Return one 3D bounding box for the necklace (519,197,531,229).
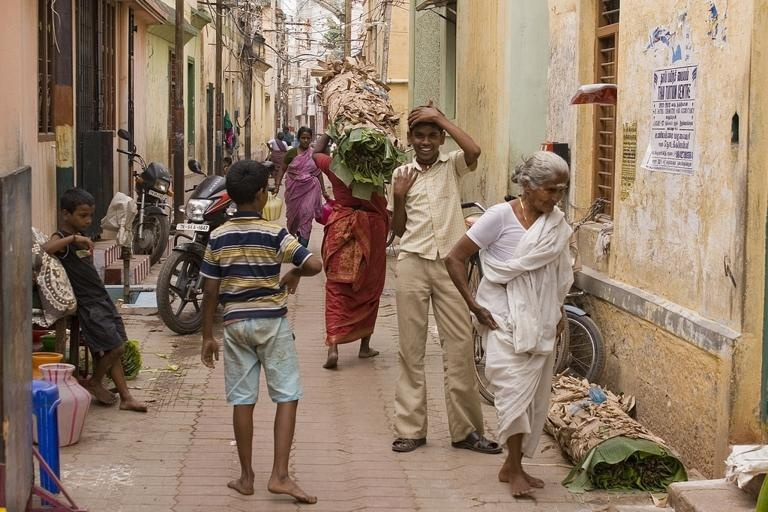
[{"bbox_3d":[0.964,-0.317,5.585,0.021,0.172,0.049,1,-11,-33],"label":"necklace"}]

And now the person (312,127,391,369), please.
[{"bbox_3d":[-0.321,-0.045,7.914,0.739,2.230,0.597,0,10,-6],"label":"person"}]

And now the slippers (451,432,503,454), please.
[{"bbox_3d":[0.708,1.414,6.218,0.346,0.133,0.139,1,4,22],"label":"slippers"}]

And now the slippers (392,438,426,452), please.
[{"bbox_3d":[0.190,1.417,6.173,0.247,0.112,0.091,5,-3,-17],"label":"slippers"}]

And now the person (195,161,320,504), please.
[{"bbox_3d":[-0.802,0.484,5.396,0.827,2.190,0.494,7,12,27],"label":"person"}]

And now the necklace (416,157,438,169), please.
[{"bbox_3d":[0.330,-0.720,6.348,0.091,0.047,0.117,1,-16,0],"label":"necklace"}]

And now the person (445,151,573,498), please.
[{"bbox_3d":[0.868,0.426,5.626,0.667,2.282,0.629,8,12,31],"label":"person"}]

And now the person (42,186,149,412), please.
[{"bbox_3d":[-2.317,0.363,6.528,0.694,1.789,0.331,-2,11,-18],"label":"person"}]
